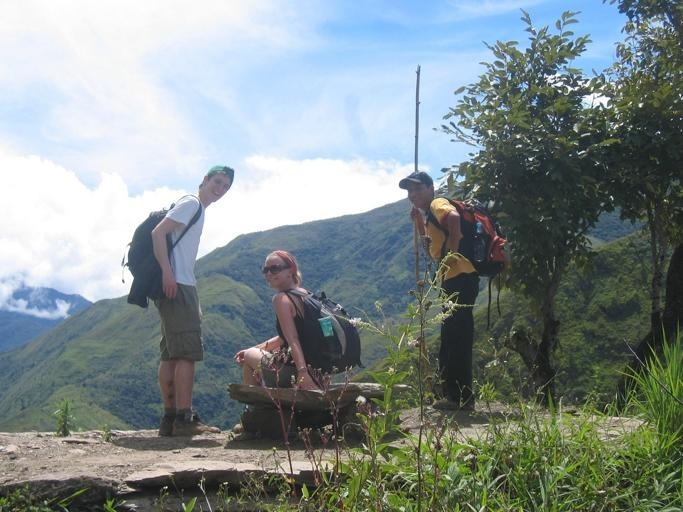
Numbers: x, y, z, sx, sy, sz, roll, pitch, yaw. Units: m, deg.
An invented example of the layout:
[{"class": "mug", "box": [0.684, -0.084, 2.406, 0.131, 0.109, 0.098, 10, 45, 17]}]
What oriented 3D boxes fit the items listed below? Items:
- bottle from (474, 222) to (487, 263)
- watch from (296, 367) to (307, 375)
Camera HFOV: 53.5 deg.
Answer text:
[{"class": "bottle", "box": [1.735, -0.190, 8.435, 0.126, 0.372, 0.258, 5, -6, -5]}, {"class": "watch", "box": [-0.419, 1.212, 7.306, 0.094, 0.064, 0.090, -8, 9, -4]}]
